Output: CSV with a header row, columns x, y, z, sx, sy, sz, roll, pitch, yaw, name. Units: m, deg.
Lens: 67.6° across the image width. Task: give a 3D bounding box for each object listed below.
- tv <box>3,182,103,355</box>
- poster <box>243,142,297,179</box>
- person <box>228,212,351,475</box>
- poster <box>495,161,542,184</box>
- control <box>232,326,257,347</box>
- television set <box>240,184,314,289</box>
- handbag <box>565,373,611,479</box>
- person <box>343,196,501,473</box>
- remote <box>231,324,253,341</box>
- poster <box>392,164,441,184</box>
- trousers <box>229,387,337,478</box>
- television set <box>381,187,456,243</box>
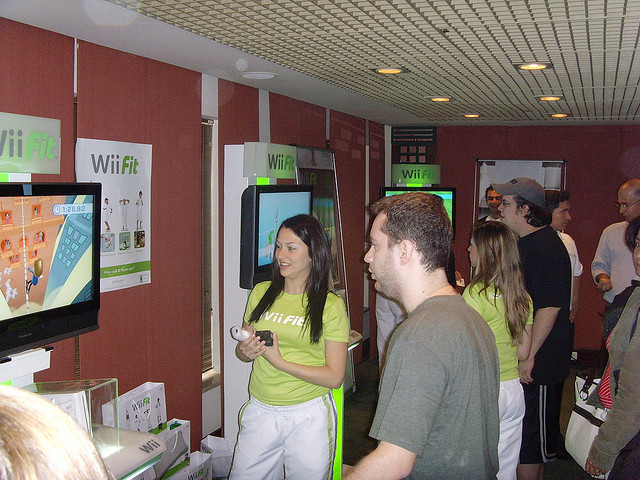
x,y,z,sx,sy,sz,roll,pitch,yaw,name
-1.235,0.113,2.215,0.066,0.748,0.545,2,7,26,tv
-0.477,-0.633,3.676,0.201,0.300,0.638,2,6,-11,poster
-0.174,0.580,2.720,0.666,1.409,0.520,-1,6,-1,person
2.776,-0.957,6.691,0.613,0.300,0.171,1,6,19,poster
-0.405,0.495,2.526,0.113,0.060,0.044,15,-9,-6,control
-0.354,-0.058,3.498,0.184,0.686,0.759,1,7,23,television set
1.421,0.977,2.557,0.178,0.444,0.436,2,7,28,handbag
0.328,0.336,1.525,0.465,0.935,0.565,1,6,19,person
-0.413,0.494,2.543,0.107,0.060,0.043,26,-15,-7,remote
1.285,-0.901,6.481,0.555,0.281,0.251,0,2,8,poster
-0.174,1.044,2.575,0.475,0.614,0.265,8,-4,8,trousers
1.453,-0.318,6.488,1.360,0.804,0.295,-5,7,-29,television set
